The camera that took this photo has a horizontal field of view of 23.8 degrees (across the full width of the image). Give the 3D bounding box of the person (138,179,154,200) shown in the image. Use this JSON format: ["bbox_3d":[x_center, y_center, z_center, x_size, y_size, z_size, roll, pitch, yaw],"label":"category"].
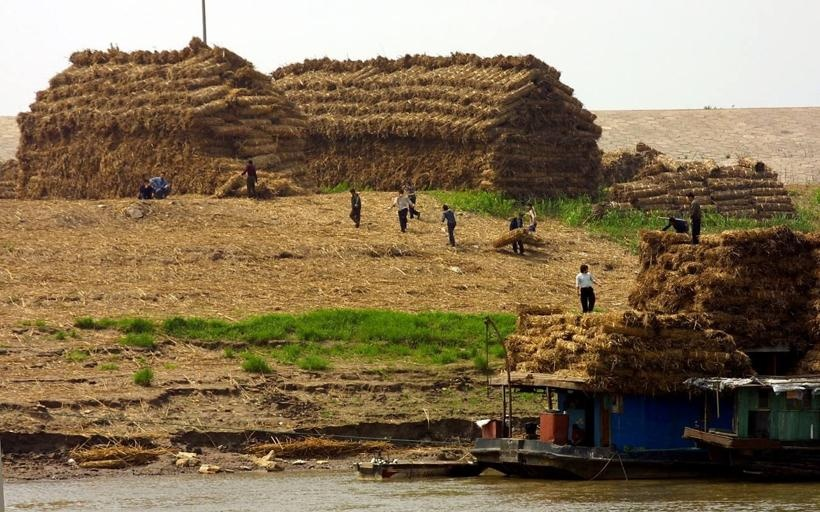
[{"bbox_3d":[-10.782,-2.689,79.595,0.591,1.167,1.534,3,-12,-8],"label":"person"}]
